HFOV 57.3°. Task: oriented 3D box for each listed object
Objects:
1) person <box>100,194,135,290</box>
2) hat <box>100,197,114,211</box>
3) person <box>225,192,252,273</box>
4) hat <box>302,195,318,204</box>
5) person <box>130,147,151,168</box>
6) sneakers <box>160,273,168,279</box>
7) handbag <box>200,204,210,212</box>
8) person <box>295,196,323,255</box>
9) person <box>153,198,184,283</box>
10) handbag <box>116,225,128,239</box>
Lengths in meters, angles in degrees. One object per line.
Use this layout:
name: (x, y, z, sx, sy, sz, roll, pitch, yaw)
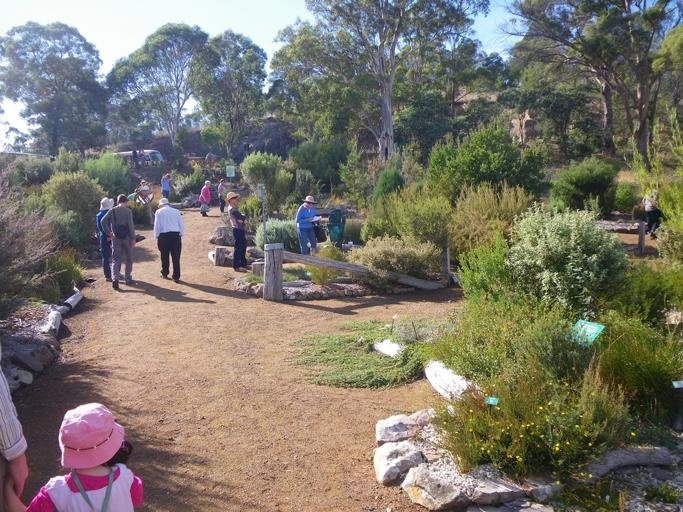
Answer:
person: (-5.353, -0.390, 14.922, 0.693, 2.158, 0.898, -5, 11, -23)
hat: (-5.697, -1.264, 15.075, 0.246, 0.282, 0.793, -6, 12, -24)
person: (-2.871, -0.714, 17.132, 0.479, 2.023, 1.462, -2, 10, -9)
hat: (-0.859, -1.494, 16.694, 0.453, 0.258, 0.596, 5, -1, -9)
person: (-14.751, -7.265, 45.698, 0.961, 1.693, 0.724, 3, -10, -14)
sneakers: (-4.510, 0.499, 15.786, 0.107, 0.148, 0.133, -2, -8, 26)
handbag: (-5.965, -2.038, 26.710, 0.376, 0.277, 0.385, 2, -13, 13)
person: (-0.943, -0.835, 16.882, 0.543, 1.598, 0.955, -1, 10, -3)
person: (-4.309, -0.401, 15.533, 0.599, 1.986, 0.511, 1, 10, 9)
handbag: (-5.234, -0.571, 14.838, 0.210, 0.282, 0.279, 2, -3, -26)
